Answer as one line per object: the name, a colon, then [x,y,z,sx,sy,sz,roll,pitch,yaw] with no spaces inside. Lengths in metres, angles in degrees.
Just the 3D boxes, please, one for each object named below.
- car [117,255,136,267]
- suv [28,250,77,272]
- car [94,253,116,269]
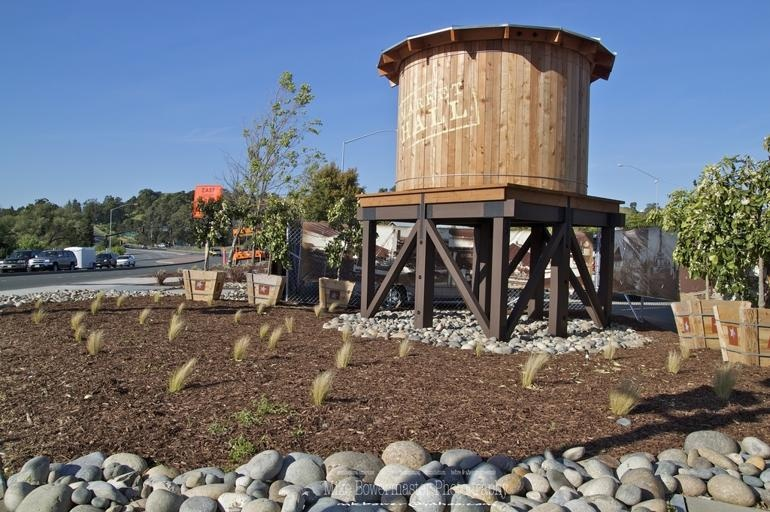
car: [-27.797,0.598,59.878,1.293,1.229,2.547,-2,-5,15]
suv: [-28.346,0.416,47.209,1.493,1.427,3.286,-3,-5,16]
car: [-28.726,0.509,56.812,1.384,1.147,2.204,-3,-5,20]
